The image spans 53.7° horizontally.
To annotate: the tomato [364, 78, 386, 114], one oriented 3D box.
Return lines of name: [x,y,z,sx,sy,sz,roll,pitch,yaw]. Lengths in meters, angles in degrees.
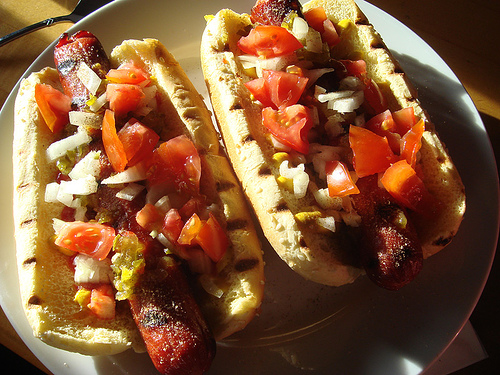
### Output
tomato: [0.856,-0.624,3.444,0.082,0.123,0.252,-29,87,-46]

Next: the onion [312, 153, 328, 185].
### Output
onion: [0.468,-0.140,3.328,0.039,0.111,0.163,-12,89,23]

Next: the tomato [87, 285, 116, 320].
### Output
tomato: [-0.942,0.718,3.131,0.160,0.080,0.207,-26,91,-13]

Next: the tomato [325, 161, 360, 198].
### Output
tomato: [0.599,-0.067,3.224,0.197,0.142,0.261,-7,75,3]

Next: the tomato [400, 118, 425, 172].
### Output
tomato: [1.049,-0.274,3.201,0.189,0.074,0.300,-10,57,37]

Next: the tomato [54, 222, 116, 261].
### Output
tomato: [-1.041,0.327,3.170,0.356,0.112,0.219,18,78,8]

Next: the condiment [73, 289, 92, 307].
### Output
condiment: [-1.065,0.706,3.152,0.107,0.080,0.084,3,94,-1]

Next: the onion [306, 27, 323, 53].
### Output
onion: [0.447,-1.028,3.463,0.106,0.032,0.155,-25,95,-14]

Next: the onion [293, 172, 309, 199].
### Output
onion: [0.333,-0.011,3.269,0.111,0.036,0.150,35,112,28]

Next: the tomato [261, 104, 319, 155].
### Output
tomato: [0.264,-0.384,3.342,0.122,0.358,0.330,-29,91,23]

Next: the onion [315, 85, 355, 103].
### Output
onion: [0.561,-0.641,3.365,0.180,0.047,0.121,-14,32,14]

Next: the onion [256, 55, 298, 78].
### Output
onion: [0.166,-0.823,3.486,0.186,0.191,0.098,2,111,28]

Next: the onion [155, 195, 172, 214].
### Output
onion: [-0.554,0.114,3.175,0.104,0.098,0.105,-5,42,-33]

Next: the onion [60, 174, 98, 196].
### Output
onion: [-1.131,-0.006,3.267,0.244,0.063,0.128,-19,72,9]

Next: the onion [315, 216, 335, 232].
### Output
onion: [0.494,0.243,3.256,0.122,0.059,0.098,-6,75,2]

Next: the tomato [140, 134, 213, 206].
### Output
tomato: [-0.494,-0.095,3.222,0.371,0.109,0.398,-28,75,-4]

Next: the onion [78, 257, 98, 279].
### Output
onion: [-1.058,0.510,3.195,0.140,0.034,0.119,23,78,9]

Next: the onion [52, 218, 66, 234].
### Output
onion: [-1.260,0.249,3.209,0.059,0.023,0.101,3,61,-3]

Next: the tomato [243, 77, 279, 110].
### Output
tomato: [0.082,-0.669,3.447,0.233,0.083,0.206,43,121,4]

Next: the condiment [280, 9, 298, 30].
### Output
condiment: [0.274,-1.164,3.457,0.088,0.049,0.143,26,104,27]

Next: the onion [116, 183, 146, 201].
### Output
onion: [-0.787,0.030,3.236,0.101,0.054,0.164,40,81,12]

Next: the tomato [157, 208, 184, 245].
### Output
tomato: [-0.506,0.245,3.068,0.139,0.069,0.210,1,91,25]

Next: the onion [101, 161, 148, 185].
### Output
onion: [-0.797,-0.078,3.210,0.306,0.074,0.116,-24,80,3]

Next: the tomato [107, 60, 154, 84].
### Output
tomato: [-0.845,-0.792,3.443,0.212,0.071,0.225,37,42,25]
